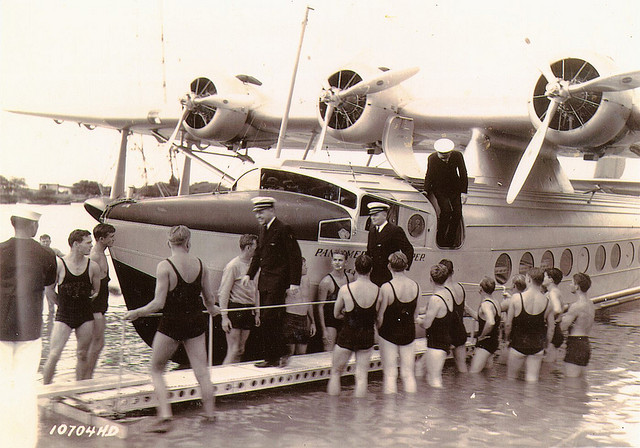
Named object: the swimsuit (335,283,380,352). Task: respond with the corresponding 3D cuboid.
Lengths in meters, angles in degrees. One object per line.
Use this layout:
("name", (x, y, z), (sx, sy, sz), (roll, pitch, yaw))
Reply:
("swimsuit", (0.551, 1.294, 9.072), (0.558, 0.985, 0.399), (2, 15, -4))

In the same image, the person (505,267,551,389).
("person", (3.199, 1.565, 10.062), (0.644, 1.809, 0.466), (6, 9, 15))

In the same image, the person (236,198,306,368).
("person", (-0.698, 0.877, 9.496), (0.797, 2.441, 0.568), (3, 9, -8))

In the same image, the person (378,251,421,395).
("person", (1.131, 1.420, 9.278), (0.671, 2.014, 0.468), (3, 9, -3))

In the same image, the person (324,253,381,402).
("person", (0.490, 1.394, 9.473), (0.687, 2.079, 1.186), (4, 9, 3))

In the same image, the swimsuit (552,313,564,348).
("swimsuit", (4.098, 1.860, 11.246), (0.259, 0.534, 0.384), (2, -2, 10))

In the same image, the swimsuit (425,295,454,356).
("swimsuit", (1.810, 1.581, 9.888), (0.391, 0.962, 0.466), (-7, -21, 28))

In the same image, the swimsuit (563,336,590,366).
("swimsuit", (4.127, 1.987, 10.469), (0.378, 0.475, 0.321), (5, 11, 4))

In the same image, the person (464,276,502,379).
("person", (2.657, 1.659, 10.591), (0.580, 1.552, 0.760), (6, 9, 13))

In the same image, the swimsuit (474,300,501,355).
("swimsuit", (2.747, 1.686, 10.637), (0.375, 0.898, 0.486), (6, 9, 14))
